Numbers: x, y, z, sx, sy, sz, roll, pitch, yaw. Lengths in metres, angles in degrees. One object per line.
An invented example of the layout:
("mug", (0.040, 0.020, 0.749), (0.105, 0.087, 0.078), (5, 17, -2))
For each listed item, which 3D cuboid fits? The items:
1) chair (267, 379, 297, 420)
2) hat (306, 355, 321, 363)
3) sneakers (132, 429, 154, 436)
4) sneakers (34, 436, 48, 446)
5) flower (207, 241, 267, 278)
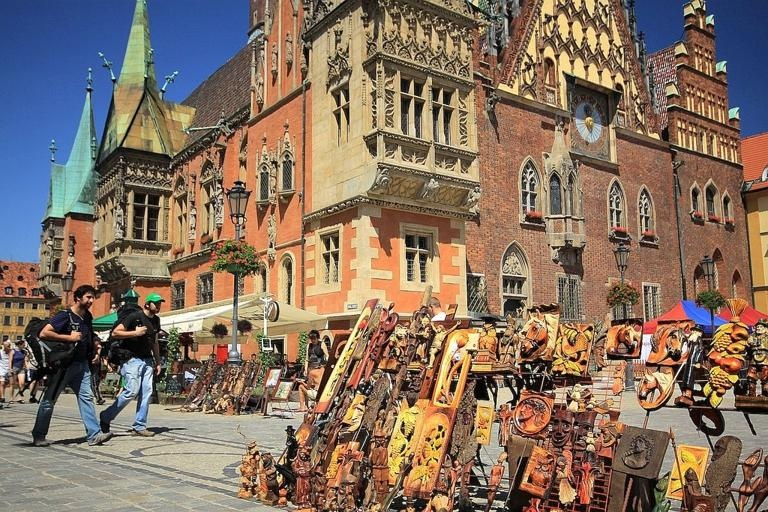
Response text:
("chair", (-2.680, 3.695, 19.608), (0.582, 0.994, 0.974), (9, -14, -36))
("hat", (-1.705, 2.516, 18.552), (0.410, 0.152, 0.127), (-8, -19, 43))
("sneakers", (-4.727, 3.446, 14.903), (0.446, 0.196, 0.169), (0, -4, 4))
("sneakers", (-6.130, 3.321, 13.635), (0.095, 0.105, 0.279), (5, -16, -39))
("flower", (-4.466, -0.028, 23.376), (1.222, 0.926, 1.229), (10, -15, -19))
